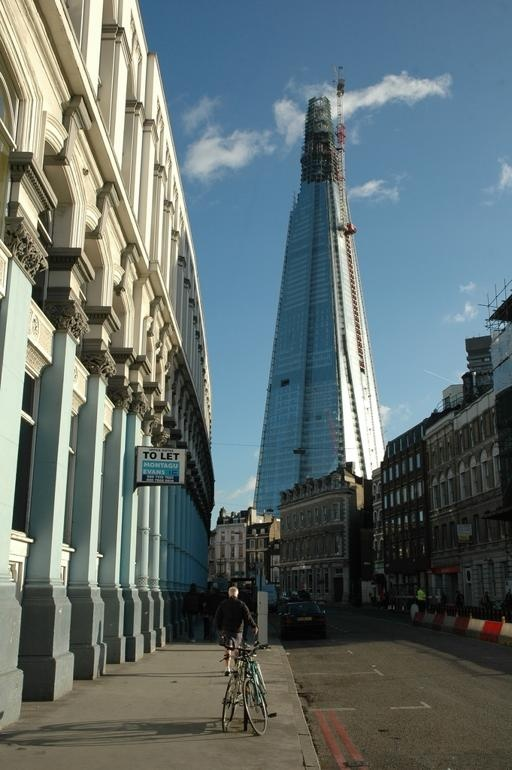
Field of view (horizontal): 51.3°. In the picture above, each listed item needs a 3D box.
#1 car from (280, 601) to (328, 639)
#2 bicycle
[{"bbox_3d":[2.155,10.936,24.466,1.232,1.205,2.363,1,-8,-1],"label":"car"},{"bbox_3d":[-0.070,3.292,5.786,0.448,0.731,1.105,1,-23,3],"label":"bicycle"}]
